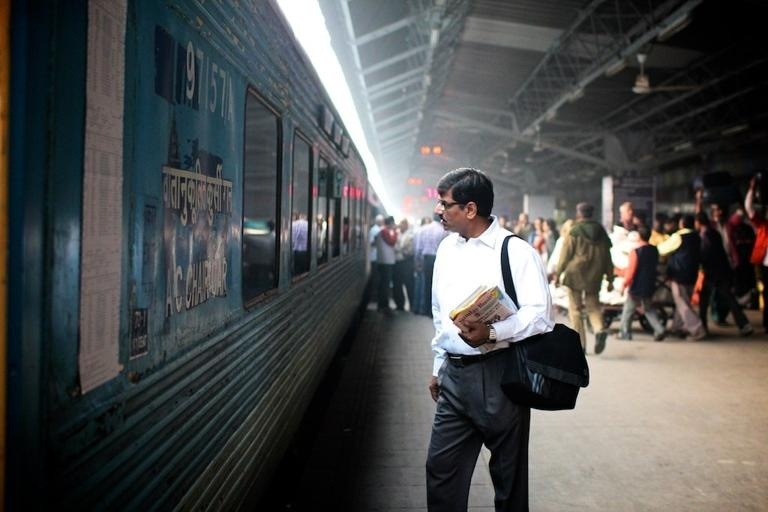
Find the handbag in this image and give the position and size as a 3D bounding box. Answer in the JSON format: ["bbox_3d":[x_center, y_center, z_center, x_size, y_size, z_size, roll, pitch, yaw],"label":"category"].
[{"bbox_3d":[0.777,0.538,2.512,0.402,0.407,0.189,0,3,14],"label":"handbag"}]
